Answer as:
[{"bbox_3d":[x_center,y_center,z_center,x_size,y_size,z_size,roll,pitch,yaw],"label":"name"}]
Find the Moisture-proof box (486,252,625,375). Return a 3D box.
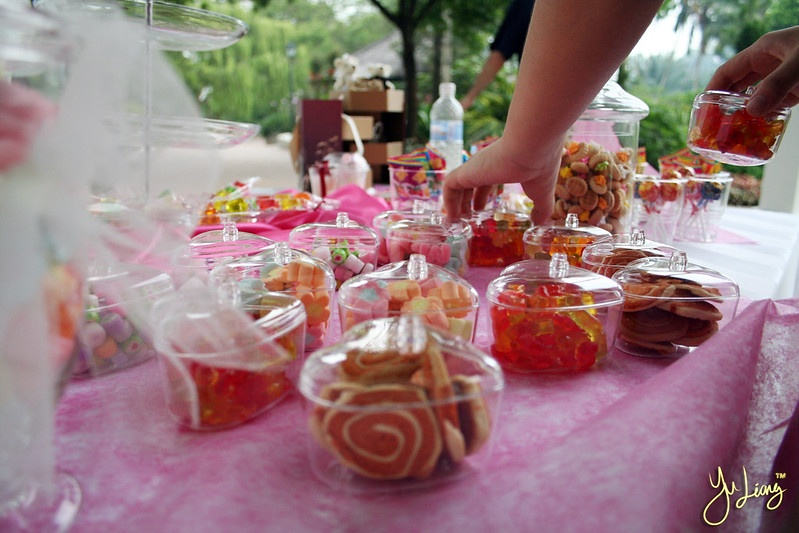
[{"bbox_3d":[0.301,0.099,1.151,0.314,0.221,0.291,-2,1,2],"label":"Moisture-proof box"}]

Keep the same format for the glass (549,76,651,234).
[{"bbox_3d":[0.631,-0.336,1.799,0.297,0.466,0.292,-1,1,-8],"label":"glass"}]

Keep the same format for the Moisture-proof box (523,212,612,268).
[{"bbox_3d":[0.451,-0.074,1.452,0.177,0.121,0.173,-3,4,-20],"label":"Moisture-proof box"}]

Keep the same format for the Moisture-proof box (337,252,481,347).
[{"bbox_3d":[0.006,0.041,1.030,0.209,0.115,0.190,2,7,24],"label":"Moisture-proof box"}]

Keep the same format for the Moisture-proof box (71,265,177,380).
[{"bbox_3d":[-0.587,0.109,1.034,0.221,0.168,0.230,-1,-9,-42],"label":"Moisture-proof box"}]

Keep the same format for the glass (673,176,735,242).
[{"bbox_3d":[1.173,-0.229,2.153,0.249,0.269,0.270,6,5,18],"label":"glass"}]

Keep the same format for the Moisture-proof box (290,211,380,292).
[{"bbox_3d":[-0.214,-0.061,1.464,0.265,0.203,0.279,5,7,34],"label":"Moisture-proof box"}]

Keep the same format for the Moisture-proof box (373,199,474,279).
[{"bbox_3d":[0.066,-0.086,1.505,0.235,0.169,0.234,2,6,13],"label":"Moisture-proof box"}]

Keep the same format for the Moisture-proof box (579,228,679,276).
[{"bbox_3d":[0.530,-0.033,1.278,0.157,0.071,0.160,3,6,35],"label":"Moisture-proof box"}]

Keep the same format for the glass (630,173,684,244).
[{"bbox_3d":[1.000,-0.193,2.119,0.211,0.255,0.207,3,-9,18],"label":"glass"}]

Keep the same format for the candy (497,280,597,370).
[{"bbox_3d":[0.280,0.094,1.074,0.182,0.127,0.164,-1,6,0],"label":"candy"}]

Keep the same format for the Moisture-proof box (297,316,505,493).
[{"bbox_3d":[-0.002,0.158,0.800,0.254,0.188,0.259,3,7,34],"label":"Moisture-proof box"}]

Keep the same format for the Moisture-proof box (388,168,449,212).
[{"bbox_3d":[0.080,-0.331,2.236,0.254,0.204,0.288,3,0,8],"label":"Moisture-proof box"}]

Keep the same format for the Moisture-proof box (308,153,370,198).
[{"bbox_3d":[-0.300,-0.460,2.740,0.249,0.196,0.279,0,13,3],"label":"Moisture-proof box"}]

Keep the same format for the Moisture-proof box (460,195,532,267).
[{"bbox_3d":[0.316,-0.108,1.740,0.251,0.219,0.244,3,5,27],"label":"Moisture-proof box"}]

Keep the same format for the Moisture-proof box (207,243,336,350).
[{"bbox_3d":[-0.252,0.031,1.083,0.232,0.195,0.227,0,3,-15],"label":"Moisture-proof box"}]

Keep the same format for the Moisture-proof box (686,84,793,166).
[{"bbox_3d":[0.797,-0.328,1.323,0.201,0.140,0.197,5,10,-8],"label":"Moisture-proof box"}]

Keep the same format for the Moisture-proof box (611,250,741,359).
[{"bbox_3d":[0.565,0.063,1.150,0.230,0.164,0.222,0,9,0],"label":"Moisture-proof box"}]

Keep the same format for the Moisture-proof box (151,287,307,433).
[{"bbox_3d":[-0.308,0.141,0.960,0.256,0.187,0.267,15,21,40],"label":"Moisture-proof box"}]
